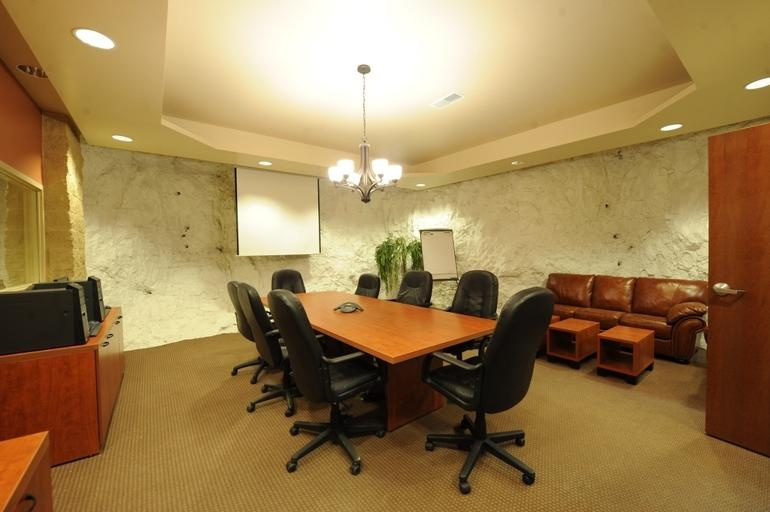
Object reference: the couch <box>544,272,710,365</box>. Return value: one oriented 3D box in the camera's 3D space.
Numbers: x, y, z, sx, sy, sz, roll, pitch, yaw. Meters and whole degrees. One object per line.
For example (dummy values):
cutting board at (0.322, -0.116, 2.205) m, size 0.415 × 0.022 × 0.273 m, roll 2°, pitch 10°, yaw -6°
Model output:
couch at (3.169, 0.789, 6.938) m, size 2.334 × 0.926 × 0.815 m, roll 1°, pitch 10°, yaw 44°

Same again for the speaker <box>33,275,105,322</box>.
speaker at (-3.279, 0.424, 5.079) m, size 0.559 × 0.494 × 0.524 m, roll -1°, pitch 0°, yaw -27°

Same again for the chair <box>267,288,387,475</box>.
chair at (-0.548, 1.154, 4.804) m, size 1.156 × 1.571 × 1.128 m, roll -3°, pitch 4°, yaw -42°

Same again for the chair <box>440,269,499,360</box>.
chair at (0.951, 0.735, 5.692) m, size 0.747 × 1.053 × 0.703 m, roll 0°, pitch 14°, yaw -6°

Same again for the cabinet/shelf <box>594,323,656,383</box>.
cabinet/shelf at (2.959, 1.183, 5.978) m, size 0.474 × 0.427 × 0.718 m, roll 4°, pitch 7°, yaw 43°

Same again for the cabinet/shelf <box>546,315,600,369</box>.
cabinet/shelf at (2.464, 1.114, 6.367) m, size 0.664 × 0.431 × 0.530 m, roll -6°, pitch 7°, yaw -33°

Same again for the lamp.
lamp at (-0.253, -1.546, 6.103) m, size 0.877 × 1.669 × 0.922 m, roll -1°, pitch -1°, yaw -17°

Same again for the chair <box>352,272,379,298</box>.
chair at (-0.208, 0.428, 7.032) m, size 0.288 × 0.396 × 0.348 m, roll -1°, pitch -1°, yaw 39°

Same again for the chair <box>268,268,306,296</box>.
chair at (-1.396, 0.400, 7.091) m, size 0.393 × 0.521 × 0.449 m, roll 1°, pitch -6°, yaw -34°

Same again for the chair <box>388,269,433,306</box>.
chair at (0.397, 0.430, 6.533) m, size 0.496 × 0.595 × 0.424 m, roll 5°, pitch -3°, yaw -45°

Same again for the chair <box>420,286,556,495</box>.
chair at (0.958, 1.184, 4.515) m, size 1.114 × 1.828 × 0.724 m, roll 1°, pitch 2°, yaw 24°

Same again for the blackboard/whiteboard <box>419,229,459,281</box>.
blackboard/whiteboard at (0.976, -0.007, 8.975) m, size 0.888 × 1.133 × 0.159 m, roll -6°, pitch 1°, yaw -6°
